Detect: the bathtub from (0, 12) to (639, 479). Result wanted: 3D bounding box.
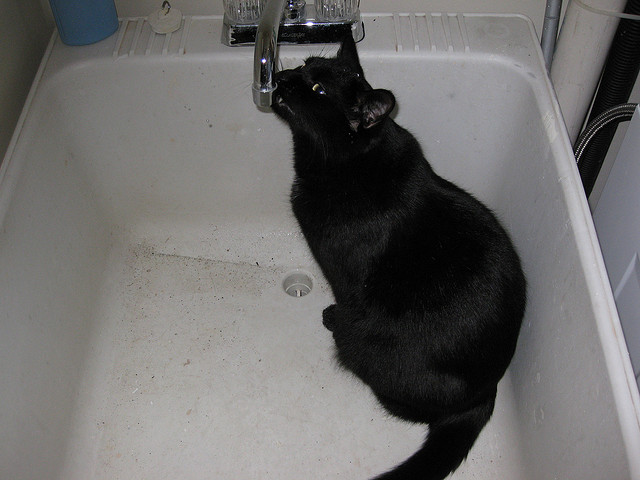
[{"bbox_3d":[-0.074,0.175,1.823,1.242,0.887,1.338,1,65,1],"label":"bathtub"}]
